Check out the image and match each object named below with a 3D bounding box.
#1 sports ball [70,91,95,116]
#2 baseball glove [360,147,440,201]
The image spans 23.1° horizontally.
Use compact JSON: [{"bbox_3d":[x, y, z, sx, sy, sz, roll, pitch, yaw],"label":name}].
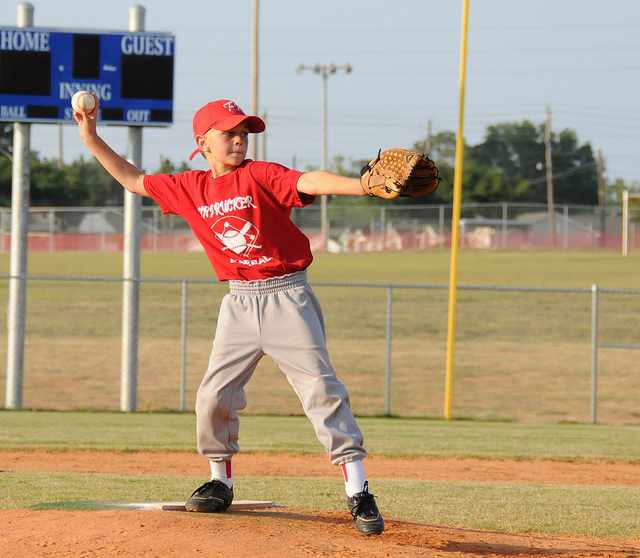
[{"bbox_3d":[-2.093,-1.564,13.828,0.193,0.195,0.195,-17,-19,-6],"label":"sports ball"},{"bbox_3d":[0.655,-0.849,12.768,0.654,0.414,0.372,1,6,1],"label":"baseball glove"}]
